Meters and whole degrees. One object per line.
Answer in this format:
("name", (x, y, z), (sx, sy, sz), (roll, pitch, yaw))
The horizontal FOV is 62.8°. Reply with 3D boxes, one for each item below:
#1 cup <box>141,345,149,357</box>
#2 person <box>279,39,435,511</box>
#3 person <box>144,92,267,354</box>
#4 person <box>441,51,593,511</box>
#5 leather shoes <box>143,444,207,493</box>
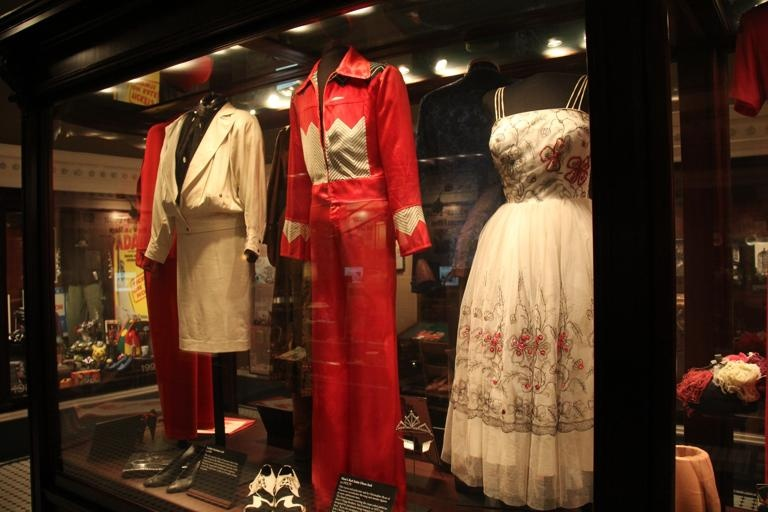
("cup", (-1.127, 0.446, 2.946), (0.047, 0.051, 0.044), (4, -1, 0))
("person", (-0.068, 0.090, 2.400), (0.527, 1.774, 0.209), (-2, -5, 13))
("person", (-0.800, -0.123, 2.778), (0.668, 1.101, 0.184), (-5, -6, 37))
("person", (0.469, 0.124, 2.204), (0.575, 1.469, 0.181), (-5, -6, 36))
("leather shoes", (-0.912, 0.944, 2.804), (0.271, 0.109, 0.163), (-19, 15, -41))
